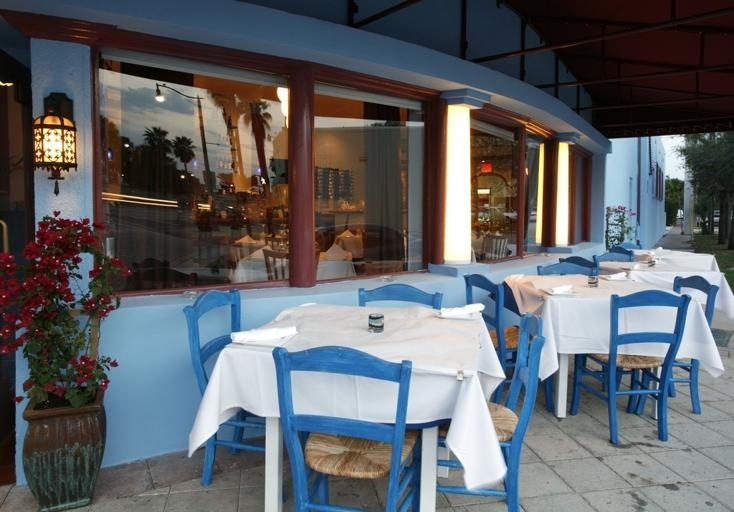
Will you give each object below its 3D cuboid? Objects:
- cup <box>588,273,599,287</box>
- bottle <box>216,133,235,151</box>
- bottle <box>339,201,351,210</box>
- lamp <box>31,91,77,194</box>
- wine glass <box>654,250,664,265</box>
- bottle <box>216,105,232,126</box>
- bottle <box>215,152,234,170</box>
[{"bbox_3d":[2.065,0.216,5.108,0.123,0.161,0.165,-1,0,15],"label":"cup"},{"bbox_3d":[-1.229,-0.998,4.834,0.137,0.139,0.058,8,-9,-26],"label":"bottle"},{"bbox_3d":[-0.216,-0.498,5.443,0.100,0.101,0.062,3,-1,-24],"label":"bottle"},{"bbox_3d":[-2.306,-0.842,4.103,0.293,0.755,0.115,-4,5,-31],"label":"lamp"},{"bbox_3d":[3.654,0.019,6.955,0.157,0.171,0.153,4,10,37],"label":"wine glass"},{"bbox_3d":[-1.225,-1.225,4.823,0.085,0.152,0.029,-17,0,-36],"label":"bottle"},{"bbox_3d":[-1.236,-0.815,4.828,0.140,0.135,0.028,-5,5,-40],"label":"bottle"}]
